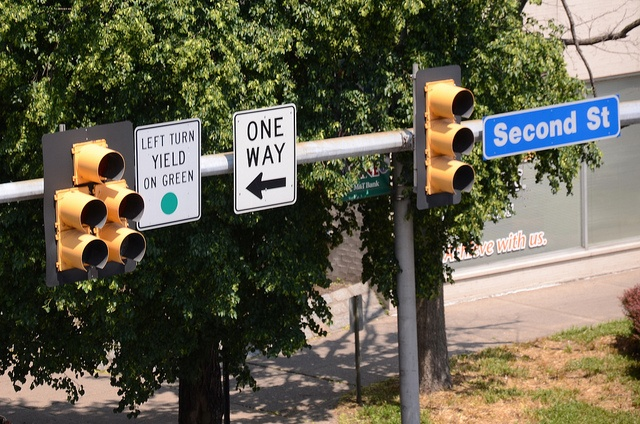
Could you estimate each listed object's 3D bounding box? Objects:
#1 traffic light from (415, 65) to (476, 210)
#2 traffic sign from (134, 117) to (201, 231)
[{"bbox_3d":[1.861,-1.146,18.145,0.950,2.080,0.590,-4,9,4],"label":"traffic light"},{"bbox_3d":[-2.236,-0.558,17.529,1.382,2.074,0.143,-5,7,-28],"label":"traffic sign"}]
